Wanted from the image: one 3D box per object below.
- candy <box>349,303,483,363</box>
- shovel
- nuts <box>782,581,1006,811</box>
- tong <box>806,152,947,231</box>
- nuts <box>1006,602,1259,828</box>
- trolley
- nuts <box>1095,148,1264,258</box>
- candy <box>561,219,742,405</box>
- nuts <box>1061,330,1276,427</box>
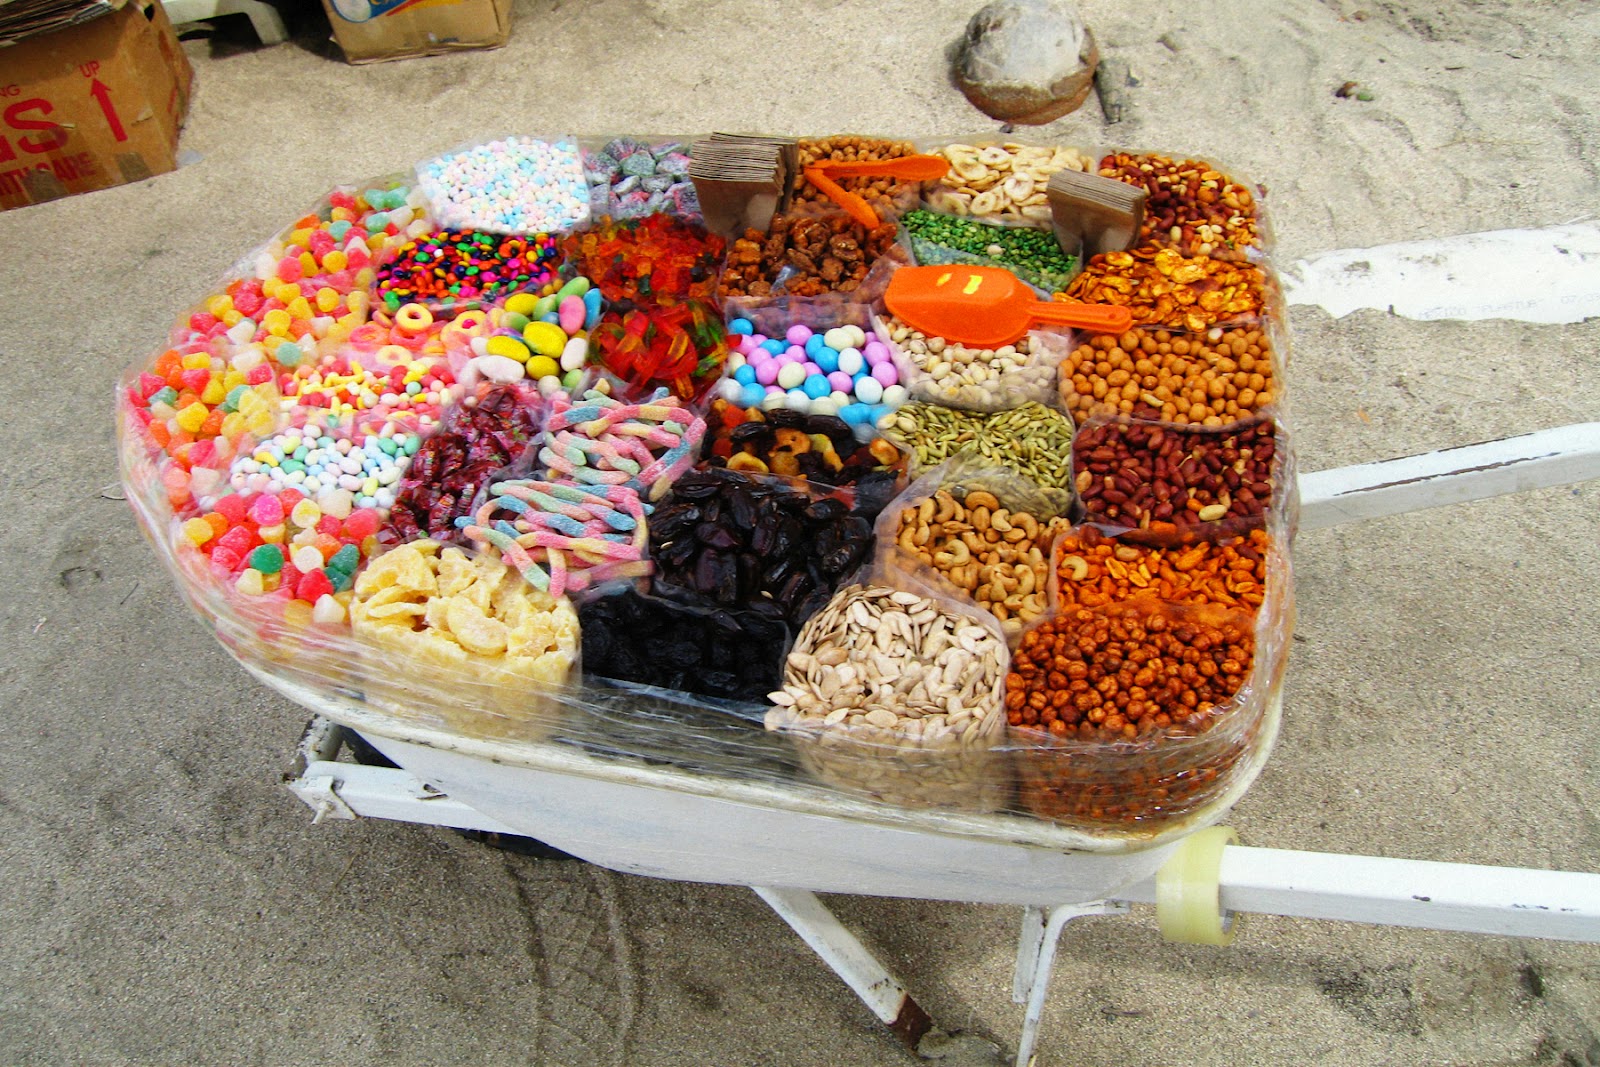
[{"bbox_3d":[-0.943,-0.493,3.088,0.318,0.090,0.144,-4,67,4],"label":"candy"},{"bbox_3d":[0.505,-0.548,3.020,0.611,0.088,0.227,8,57,8],"label":"shovel"},{"bbox_3d":[0.202,0.338,2.586,0.478,0.166,0.426,10,58,9],"label":"nuts"},{"bbox_3d":[0.161,-0.929,3.280,0.309,0.068,0.314,27,61,19],"label":"tong"},{"bbox_3d":[0.737,0.426,2.673,0.638,0.513,0.418,-6,41,11],"label":"nuts"},{"bbox_3d":[0.225,0.219,3.822,3.407,1.571,2.079,-2,40,1],"label":"trolley"},{"bbox_3d":[0.992,-0.849,3.199,0.418,0.119,0.275,10,64,13],"label":"nuts"},{"bbox_3d":[-0.363,-0.591,3.102,0.457,0.171,0.463,-2,65,0],"label":"candy"},{"bbox_3d":[0.864,-0.360,2.925,0.431,0.120,0.236,0,60,16],"label":"nuts"}]
